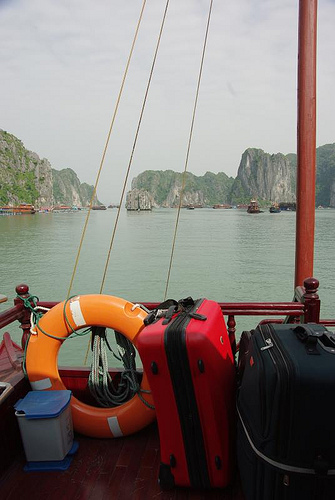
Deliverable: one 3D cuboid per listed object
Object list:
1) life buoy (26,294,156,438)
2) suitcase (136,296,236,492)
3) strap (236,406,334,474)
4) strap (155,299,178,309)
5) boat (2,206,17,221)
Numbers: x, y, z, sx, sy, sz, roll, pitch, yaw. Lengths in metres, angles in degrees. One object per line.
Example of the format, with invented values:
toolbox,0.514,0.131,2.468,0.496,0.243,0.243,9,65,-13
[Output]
life buoy,-0.511,0.772,2.354,0.871,0.958,0.264,1,-2,13
suitcase,0.112,0.654,1.870,0.535,0.962,0.609,0,7,-3
strap,0.384,0.747,1.351,0.096,0.088,0.372,3,-3,-34
strap,0.001,0.298,1.853,0.094,0.034,0.057,-25,-23,11
boat,-44.619,-10.375,97.931,3.502,1.744,5.233,1,44,-26
